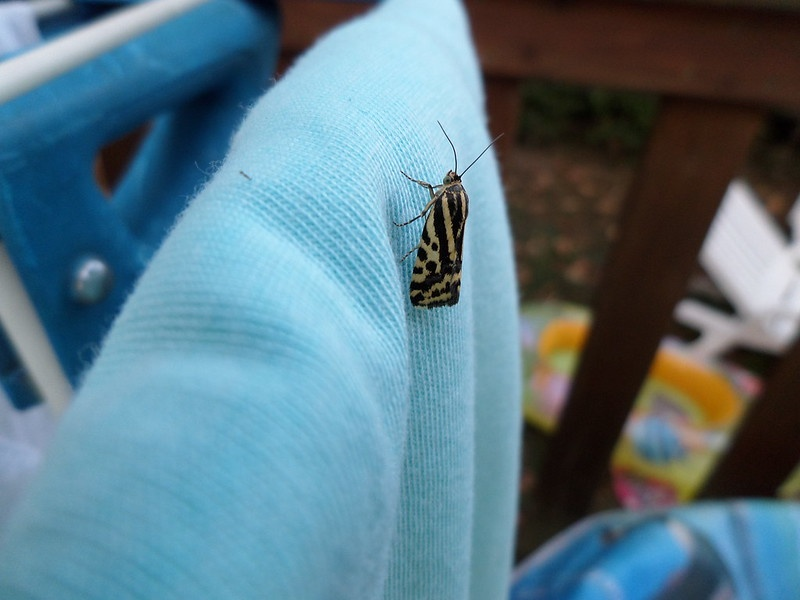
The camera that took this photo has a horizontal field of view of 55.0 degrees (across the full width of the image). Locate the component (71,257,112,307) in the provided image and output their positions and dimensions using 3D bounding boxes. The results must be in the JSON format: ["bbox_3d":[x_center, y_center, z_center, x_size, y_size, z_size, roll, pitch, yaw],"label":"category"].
[{"bbox_3d":[-0.289,-0.018,0.713,0.008,0.041,0.032,-1,-10,43],"label":"component"}]
